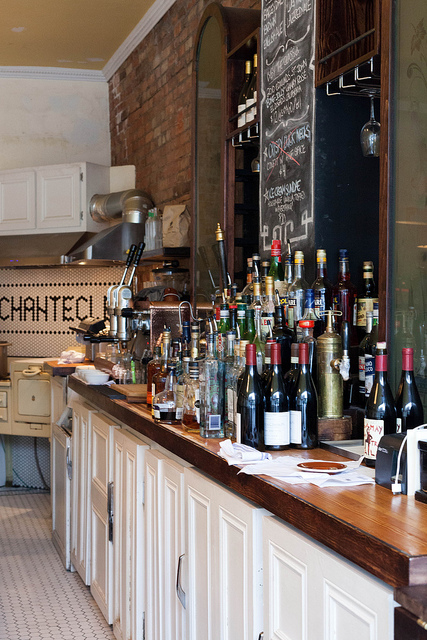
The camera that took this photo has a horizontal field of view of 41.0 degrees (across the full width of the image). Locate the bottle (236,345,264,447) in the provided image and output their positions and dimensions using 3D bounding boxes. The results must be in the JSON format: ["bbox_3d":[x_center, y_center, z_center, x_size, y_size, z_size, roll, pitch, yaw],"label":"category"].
[{"bbox_3d":[0.081,0.172,1.300,0.069,0.228,0.051,-1,-2,18],"label":"bottle"}]

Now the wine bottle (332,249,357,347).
[{"bbox_3d":[0.383,-0.069,1.653,0.077,0.324,0.101,-1,6,-24],"label":"wine bottle"}]

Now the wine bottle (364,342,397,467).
[{"bbox_3d":[0.318,0.169,1.121,0.057,0.271,0.060,1,-2,0],"label":"wine bottle"}]

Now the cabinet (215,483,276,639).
[{"bbox_3d":[0.049,0.503,1.156,0.103,0.299,0.157,-1,2,-25],"label":"cabinet"}]

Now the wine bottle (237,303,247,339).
[{"bbox_3d":[0.089,0.002,1.740,0.029,0.107,0.083,-1,-2,3],"label":"wine bottle"}]

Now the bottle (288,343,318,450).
[{"bbox_3d":[0.201,0.197,1.323,0.063,0.193,0.105,0,-2,-24],"label":"bottle"}]

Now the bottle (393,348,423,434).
[{"bbox_3d":[0.363,0.133,1.072,0.054,0.162,0.207,-1,-2,20],"label":"bottle"}]

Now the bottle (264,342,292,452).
[{"bbox_3d":[0.147,0.172,1.286,0.063,0.240,0.106,-1,-2,1],"label":"bottle"}]

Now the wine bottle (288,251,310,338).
[{"bbox_3d":[0.249,-0.078,1.685,0.058,0.253,0.175,-1,-2,8],"label":"wine bottle"}]

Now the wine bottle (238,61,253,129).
[{"bbox_3d":[0.147,-1.030,2.603,0.069,0.341,0.187,-1,-2,4],"label":"wine bottle"}]
